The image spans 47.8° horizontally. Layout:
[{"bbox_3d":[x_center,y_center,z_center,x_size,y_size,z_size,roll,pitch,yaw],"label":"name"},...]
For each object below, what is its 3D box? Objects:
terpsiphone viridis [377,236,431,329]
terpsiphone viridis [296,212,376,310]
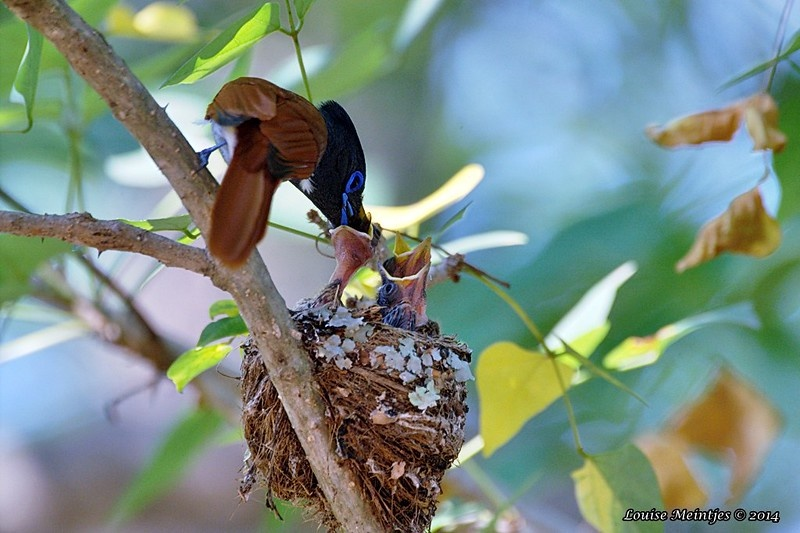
[{"bbox_3d":[0.015,0.068,2.854,0.120,0.129,0.352,3,-42,-21],"label":"terpsiphone viridis"},{"bbox_3d":[-0.160,-0.018,2.706,0.165,0.241,0.083,17,-9,-10],"label":"terpsiphone viridis"}]
